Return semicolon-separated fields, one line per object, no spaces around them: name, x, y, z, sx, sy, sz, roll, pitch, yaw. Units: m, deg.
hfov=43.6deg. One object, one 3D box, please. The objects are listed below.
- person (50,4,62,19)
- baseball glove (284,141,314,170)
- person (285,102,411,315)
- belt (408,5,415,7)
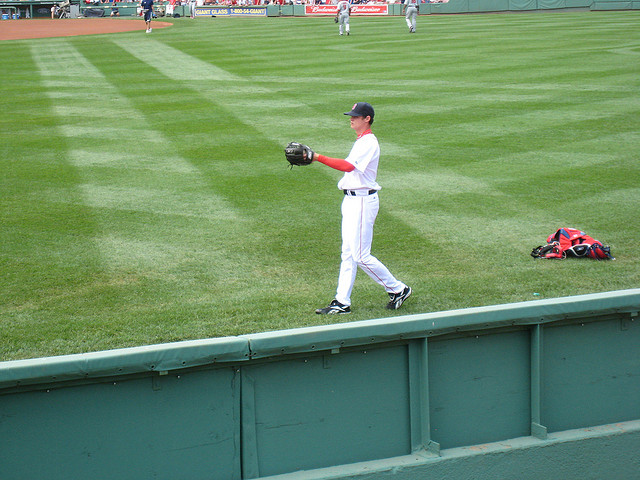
person;-17.437;-15.168;53.056;0.669;0.958;1.632;-5;14;-15
baseball glove;-0.119;-0.778;7.321;0.316;0.222;0.170;21;47;-11
person;0.334;-0.267;7.543;1.185;2.038;0.375;-7;19;-18
belt;3.481;-8.830;30.176;0.117;0.042;0.148;0;-1;-4
